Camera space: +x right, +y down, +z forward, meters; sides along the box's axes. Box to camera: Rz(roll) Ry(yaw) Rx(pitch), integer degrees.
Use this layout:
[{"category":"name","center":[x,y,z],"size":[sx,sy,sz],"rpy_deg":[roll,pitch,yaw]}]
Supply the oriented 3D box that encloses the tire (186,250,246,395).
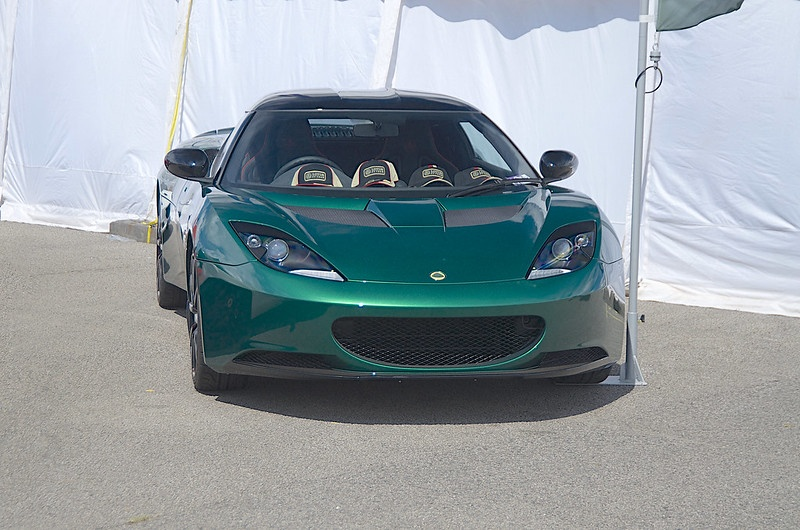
[{"category":"tire","center":[-1.308,0.423,4.714],"size":[0.317,0.834,0.873],"rpy_deg":[6,-11,-24]}]

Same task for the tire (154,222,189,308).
[{"category":"tire","center":[-1.822,0.014,5.804],"size":[0.293,0.686,0.717],"rpy_deg":[1,7,-15]}]
